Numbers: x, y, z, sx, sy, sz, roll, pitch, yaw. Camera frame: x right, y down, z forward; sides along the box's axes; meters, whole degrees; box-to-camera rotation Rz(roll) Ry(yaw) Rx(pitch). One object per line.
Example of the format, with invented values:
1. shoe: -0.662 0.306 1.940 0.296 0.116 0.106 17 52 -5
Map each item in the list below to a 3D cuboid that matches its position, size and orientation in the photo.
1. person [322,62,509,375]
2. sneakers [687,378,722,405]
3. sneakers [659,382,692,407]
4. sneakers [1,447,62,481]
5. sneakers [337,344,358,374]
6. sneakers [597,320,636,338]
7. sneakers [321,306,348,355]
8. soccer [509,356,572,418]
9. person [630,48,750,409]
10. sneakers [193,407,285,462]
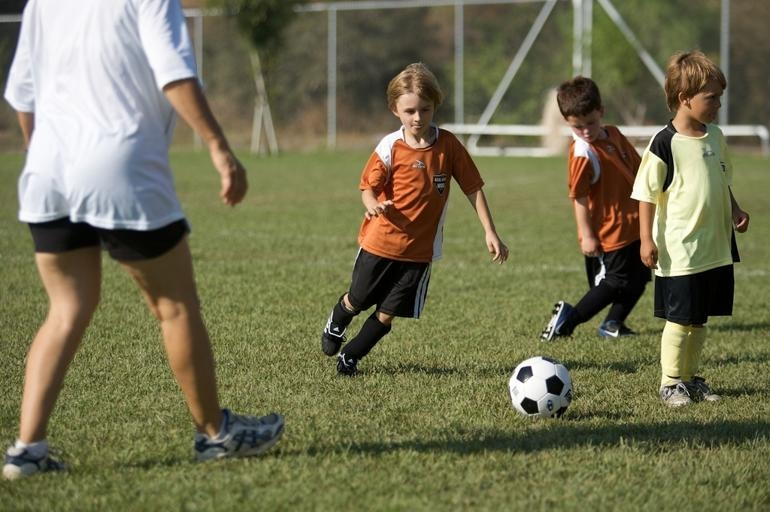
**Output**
1. person: 0.117 -0.206 5.351 0.947 1.701 0.445 -1 14 -6
2. sneakers: 1.708 0.727 5.096 0.098 0.086 0.182 0 1 -12
3. sneakers: 1.552 0.737 5.040 0.093 0.072 0.163 -2 -2 -10
4. sneakers: -1.595 0.931 4.310 0.312 0.135 0.111 -2 4 -32
5. sneakers: -0.219 0.608 5.432 0.133 0.136 0.094 1 2 -15
6. sneakers: 1.473 0.461 6.098 0.268 0.117 0.098 -1 5 -8
7. sneakers: -0.292 0.428 5.535 0.114 0.341 0.154 13 17 -18
8. soccer: 0.802 0.695 4.996 0.296 0.321 0.281 1 -22 1
9. person: 1.633 -0.163 5.092 0.541 1.797 0.631 11 18 36
10. sneakers: -0.670 0.802 4.483 0.448 0.237 0.187 -11 19 -12
